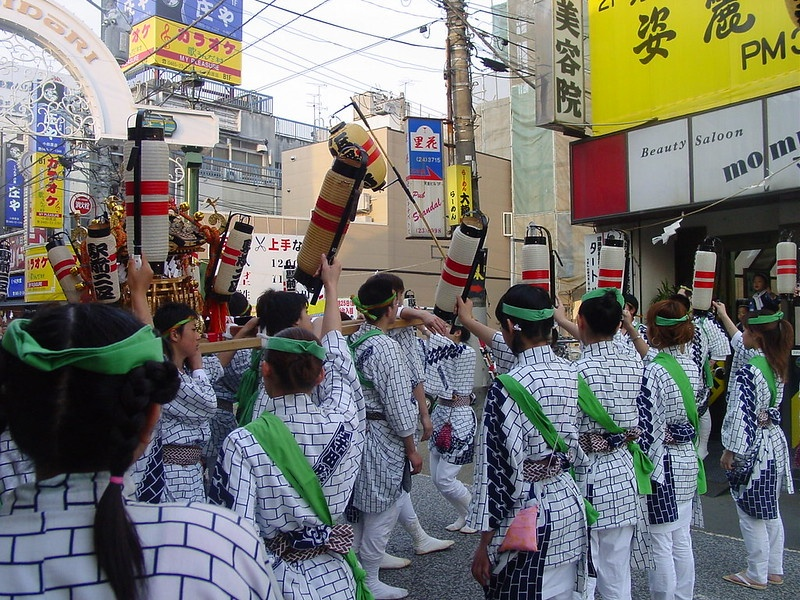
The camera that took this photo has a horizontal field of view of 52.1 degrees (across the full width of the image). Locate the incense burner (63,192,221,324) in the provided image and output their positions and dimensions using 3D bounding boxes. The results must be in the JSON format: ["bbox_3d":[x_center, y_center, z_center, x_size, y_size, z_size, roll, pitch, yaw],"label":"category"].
[{"bbox_3d":[-1.788,-0.309,5.789,0.855,0.926,0.969,-3,3,-28],"label":"incense burner"}]

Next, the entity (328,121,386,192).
[{"bbox_3d":[-0.214,-0.983,5.703,0.216,0.339,0.200,-15,-17,3],"label":"entity"}]

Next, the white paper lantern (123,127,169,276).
[{"bbox_3d":[-1.576,-0.619,5.107,0.241,0.903,0.338,-1,4,-37],"label":"white paper lantern"}]

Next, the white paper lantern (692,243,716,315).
[{"bbox_3d":[2.512,-0.173,6.760,0.152,0.604,0.156,5,2,28],"label":"white paper lantern"}]

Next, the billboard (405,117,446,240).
[{"bbox_3d":[0.397,-1.807,12.146,0.660,1.728,0.558,1,3,-8],"label":"billboard"}]

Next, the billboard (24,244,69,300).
[{"bbox_3d":[-6.649,-0.489,15.704,0.887,0.995,0.893,0,-6,-20],"label":"billboard"}]

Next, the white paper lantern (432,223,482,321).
[{"bbox_3d":[0.395,-0.207,5.472,0.181,0.837,0.190,13,24,1],"label":"white paper lantern"}]

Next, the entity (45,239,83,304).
[{"bbox_3d":[-2.181,-0.202,5.352,0.202,0.429,0.369,-1,4,-35],"label":"entity"}]

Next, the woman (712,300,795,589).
[{"bbox_3d":[2.813,1.162,6.543,0.433,2.115,0.682,3,3,31],"label":"woman"}]

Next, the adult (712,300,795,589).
[{"bbox_3d":[2.811,1.162,6.542,0.430,2.115,0.677,3,3,31],"label":"adult"}]

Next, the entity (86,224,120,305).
[{"bbox_3d":[-1.901,-0.236,5.287,0.228,0.516,0.201,-1,4,-34],"label":"entity"}]
